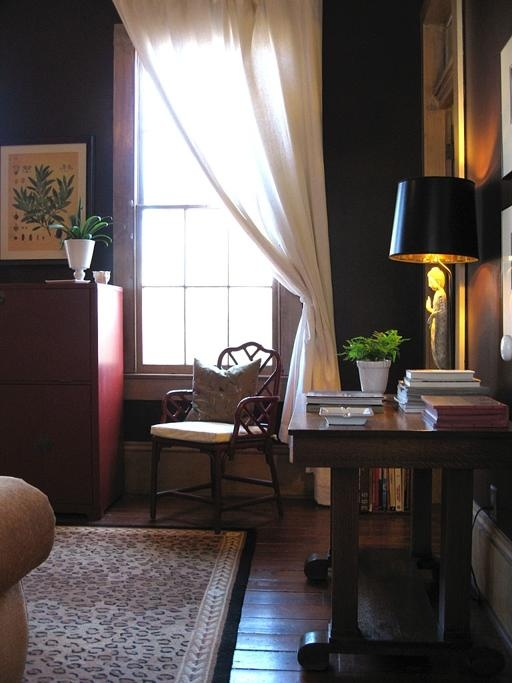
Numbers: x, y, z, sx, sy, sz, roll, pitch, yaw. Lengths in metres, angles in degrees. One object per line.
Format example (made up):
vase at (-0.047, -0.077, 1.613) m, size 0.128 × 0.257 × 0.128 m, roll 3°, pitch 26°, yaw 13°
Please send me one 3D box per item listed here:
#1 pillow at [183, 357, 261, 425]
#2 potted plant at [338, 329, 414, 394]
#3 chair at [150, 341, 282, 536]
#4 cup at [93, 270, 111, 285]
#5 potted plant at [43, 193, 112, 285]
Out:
pillow at (-0.189, 0.289, 3.202) m, size 0.265 × 0.324 × 0.115 m, roll 0°, pitch -19°, yaw 22°
potted plant at (0.503, 0.094, 2.418) m, size 0.214 × 0.293 × 0.170 m, roll 4°, pitch 7°, yaw 35°
chair at (-0.193, 0.479, 3.206) m, size 0.695 × 0.948 × 0.889 m, roll 0°, pitch -1°, yaw 19°
cup at (-0.900, -0.365, 3.351) m, size 0.100 × 0.097 × 0.106 m, roll -1°, pitch 4°, yaw 0°
potted plant at (-1.081, -0.576, 3.476) m, size 0.406 × 0.627 × 0.441 m, roll 0°, pitch -5°, yaw -28°
